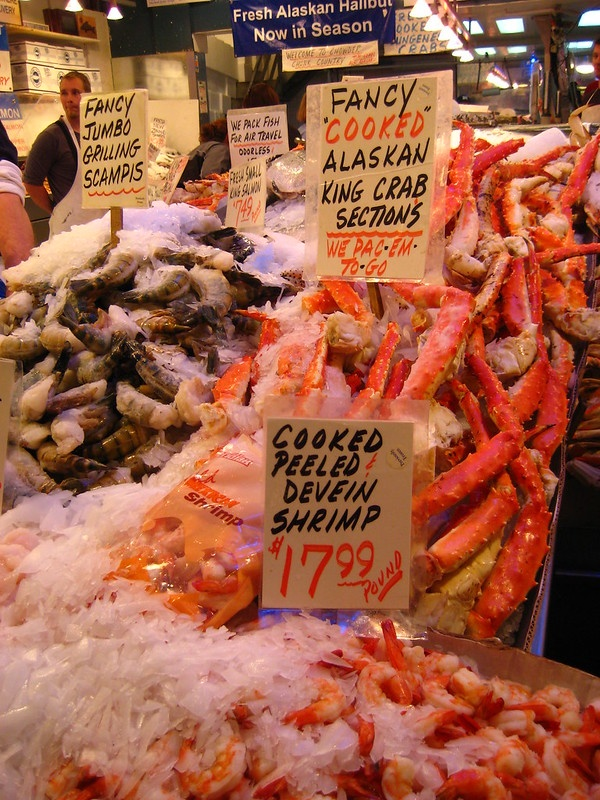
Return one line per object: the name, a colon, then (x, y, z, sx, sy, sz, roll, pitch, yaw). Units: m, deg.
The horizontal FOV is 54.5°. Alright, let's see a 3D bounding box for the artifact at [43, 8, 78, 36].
artifact: (-2.983, -4.705, 7.259, 0.123, 0.329, 0.531, 8, 18, 17)
